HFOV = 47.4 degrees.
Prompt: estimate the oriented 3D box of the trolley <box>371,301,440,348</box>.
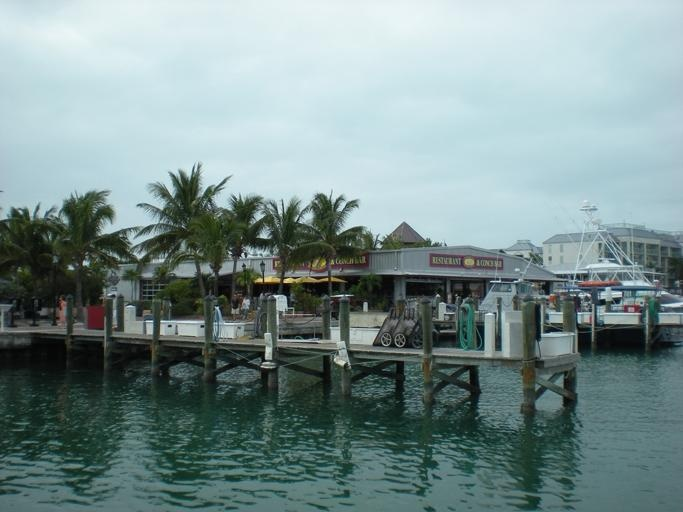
[{"bbox_3d":[2.176,2.307,26.440,2.168,1.013,1.349,-2,1,32],"label":"trolley"}]
